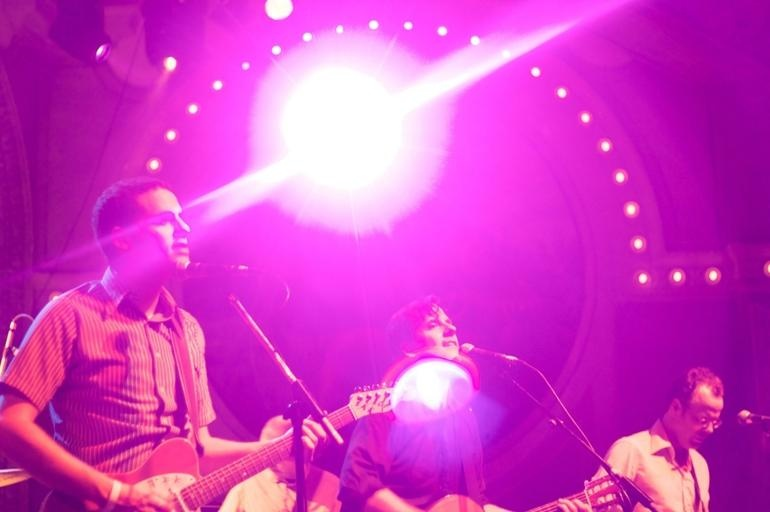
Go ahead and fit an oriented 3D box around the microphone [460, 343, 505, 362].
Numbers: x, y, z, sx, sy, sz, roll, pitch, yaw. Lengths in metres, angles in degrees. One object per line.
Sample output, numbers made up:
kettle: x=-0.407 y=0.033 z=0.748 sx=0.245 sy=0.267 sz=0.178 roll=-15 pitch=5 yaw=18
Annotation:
microphone: x=0.617 y=0.625 z=4.470 sx=0.283 sy=0.120 sz=0.075 roll=17 pitch=-47 yaw=0
